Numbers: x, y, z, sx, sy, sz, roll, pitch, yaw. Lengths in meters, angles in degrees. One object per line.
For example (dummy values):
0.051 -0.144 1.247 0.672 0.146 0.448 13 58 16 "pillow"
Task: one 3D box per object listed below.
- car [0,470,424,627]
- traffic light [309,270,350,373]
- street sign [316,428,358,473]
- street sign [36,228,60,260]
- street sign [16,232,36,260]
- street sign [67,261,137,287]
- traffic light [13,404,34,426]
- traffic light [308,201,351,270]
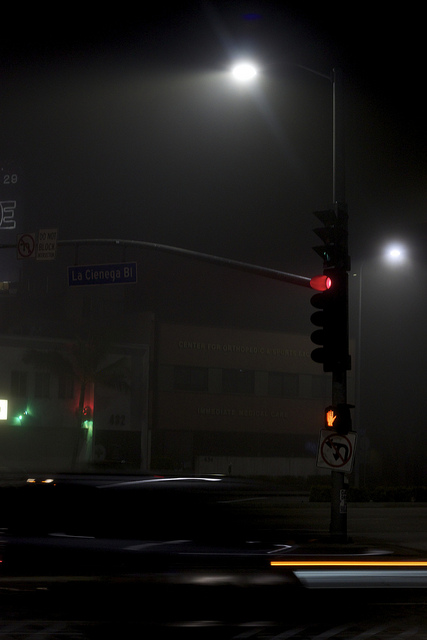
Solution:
-0.091 2.220 7.431 2.915 0.780 1.849 6 -15 -9 "car"
1.932 -0.015 12.965 0.630 1.727 0.514 0 -10 11 "traffic light"
1.992 2.071 12.630 0.757 0.683 0.272 -6 -13 39 "street sign"
-4.397 -2.035 21.079 0.511 0.835 1.160 5 -10 -14 "street sign"
-5.086 -2.021 21.623 0.414 0.691 0.870 7 -11 -27 "street sign"
-2.858 -1.197 20.562 2.105 0.576 0.883 -7 -13 43 "street sign"
-13.037 6.497 54.650 1.329 1.351 0.084 7 -11 -25 "traffic light"
2.010 -1.465 13.528 0.604 1.282 0.622 0 -10 13 "traffic light"
